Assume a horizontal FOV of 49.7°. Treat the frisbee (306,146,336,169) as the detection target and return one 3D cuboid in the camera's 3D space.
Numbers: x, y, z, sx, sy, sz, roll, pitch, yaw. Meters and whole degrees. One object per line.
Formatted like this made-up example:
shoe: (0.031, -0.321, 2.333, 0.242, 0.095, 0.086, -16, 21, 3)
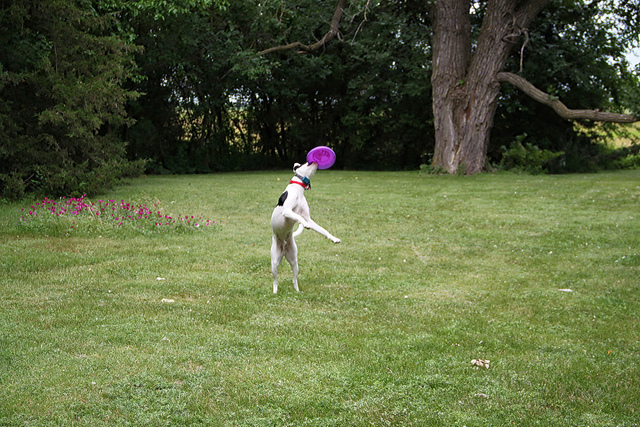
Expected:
frisbee: (0.002, -1.409, 17.249, 0.643, 0.537, 0.613, 1, 5, -3)
